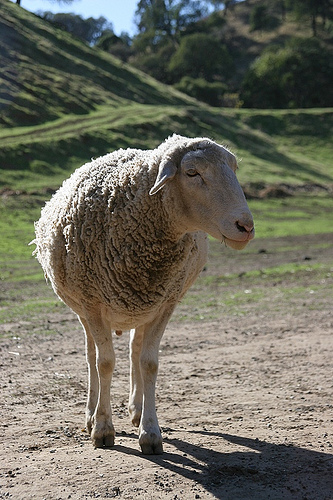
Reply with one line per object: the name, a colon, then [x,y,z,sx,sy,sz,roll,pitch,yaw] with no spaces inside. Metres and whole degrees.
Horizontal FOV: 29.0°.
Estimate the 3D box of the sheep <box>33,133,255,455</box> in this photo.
sheep: [-0.210,0.365,5.615,1.112,2.640,2.233,-10,8,-39]
